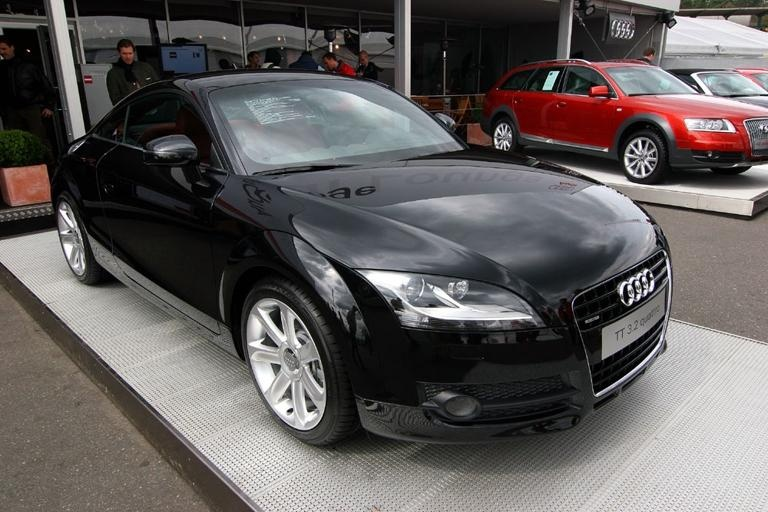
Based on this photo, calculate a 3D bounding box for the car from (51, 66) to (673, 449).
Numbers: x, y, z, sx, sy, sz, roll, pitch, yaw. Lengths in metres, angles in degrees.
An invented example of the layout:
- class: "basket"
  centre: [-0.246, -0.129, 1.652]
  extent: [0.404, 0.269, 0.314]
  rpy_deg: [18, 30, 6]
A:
- class: "car"
  centre: [-0.544, -0.401, 3.679]
  extent: [4.881, 2.054, 2.436]
  rpy_deg: [16, 26, 39]
